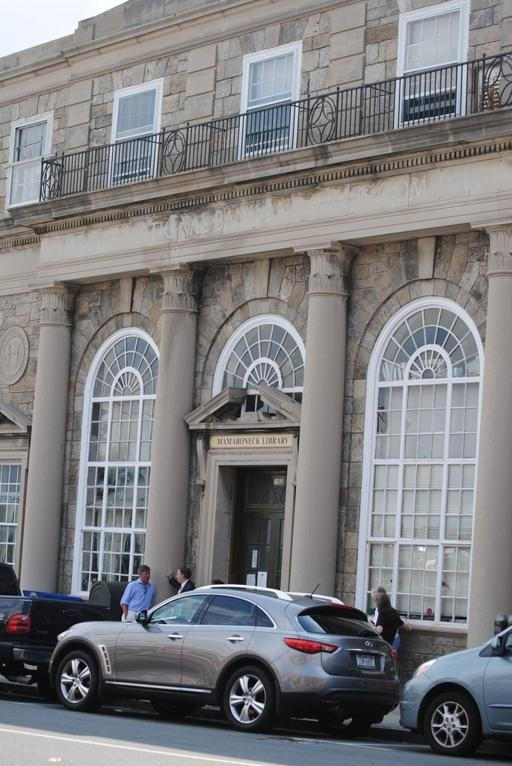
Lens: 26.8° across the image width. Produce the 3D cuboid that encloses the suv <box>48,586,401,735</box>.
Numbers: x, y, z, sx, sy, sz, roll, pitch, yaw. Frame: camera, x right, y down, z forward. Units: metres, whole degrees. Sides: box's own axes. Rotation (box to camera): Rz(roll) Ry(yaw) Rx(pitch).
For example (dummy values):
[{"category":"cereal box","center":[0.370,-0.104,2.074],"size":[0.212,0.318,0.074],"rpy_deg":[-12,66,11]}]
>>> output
[{"category":"suv","center":[-0.340,2.810,11.227],"size":[3.826,1.388,1.917],"rpy_deg":[-7,-15,38]}]
